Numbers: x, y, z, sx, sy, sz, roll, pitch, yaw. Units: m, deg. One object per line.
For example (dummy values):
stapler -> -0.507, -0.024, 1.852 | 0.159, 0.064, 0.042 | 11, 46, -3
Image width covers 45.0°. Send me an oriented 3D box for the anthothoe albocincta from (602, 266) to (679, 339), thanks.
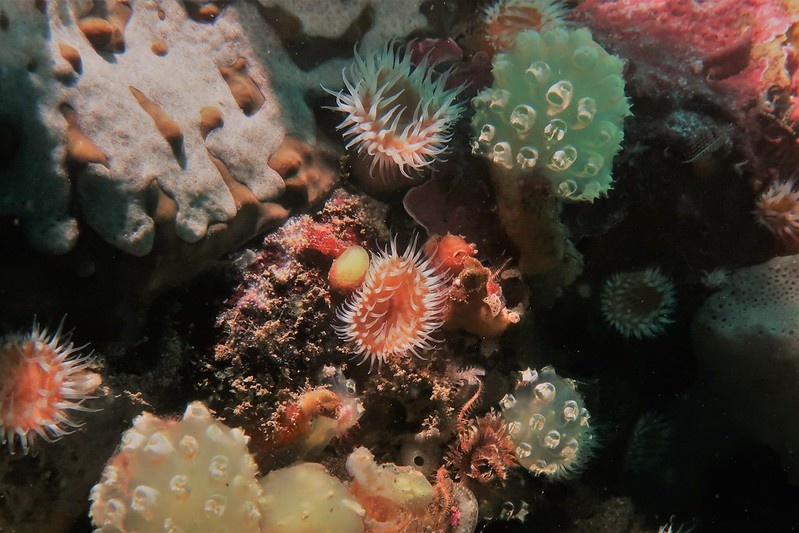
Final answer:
anthothoe albocincta -> 2.148, 0.293, 8.866 | 0.570, 0.217, 0.651 | 12, 83, 0
